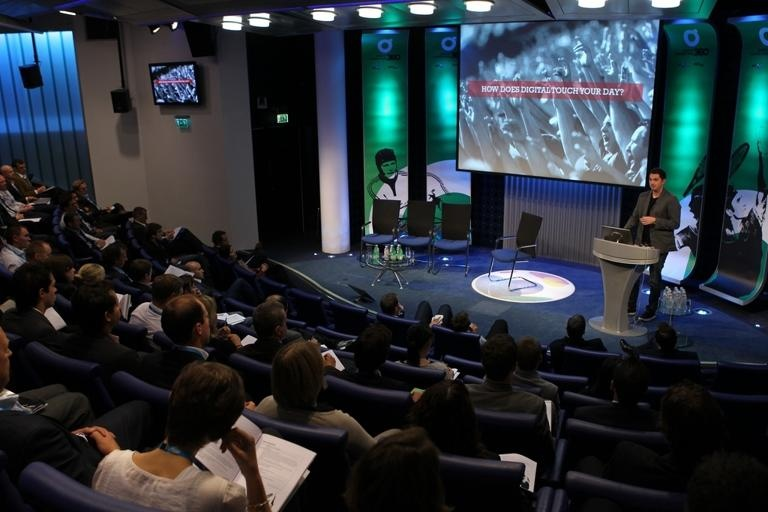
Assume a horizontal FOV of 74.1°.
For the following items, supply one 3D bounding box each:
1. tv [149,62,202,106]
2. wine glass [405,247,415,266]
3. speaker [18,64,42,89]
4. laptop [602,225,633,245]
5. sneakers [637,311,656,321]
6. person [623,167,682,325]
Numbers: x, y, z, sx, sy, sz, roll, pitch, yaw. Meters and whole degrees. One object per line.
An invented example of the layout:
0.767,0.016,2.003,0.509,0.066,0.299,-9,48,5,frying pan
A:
-4.250,-3.508,10.424,1.261,0.831,0.109,7,14,23,tv
0.493,-0.004,9.801,0.278,0.454,0.288,-1,8,0,wine glass
-7.494,-3.824,10.834,0.343,0.474,0.224,-8,16,-37,speaker
3.083,-0.219,6.660,0.247,0.301,0.335,-26,28,-38,laptop
3.741,0.842,7.221,0.335,0.143,0.120,2,3,-27,sneakers
3.630,-0.131,6.953,0.622,2.085,1.426,9,14,28,person
